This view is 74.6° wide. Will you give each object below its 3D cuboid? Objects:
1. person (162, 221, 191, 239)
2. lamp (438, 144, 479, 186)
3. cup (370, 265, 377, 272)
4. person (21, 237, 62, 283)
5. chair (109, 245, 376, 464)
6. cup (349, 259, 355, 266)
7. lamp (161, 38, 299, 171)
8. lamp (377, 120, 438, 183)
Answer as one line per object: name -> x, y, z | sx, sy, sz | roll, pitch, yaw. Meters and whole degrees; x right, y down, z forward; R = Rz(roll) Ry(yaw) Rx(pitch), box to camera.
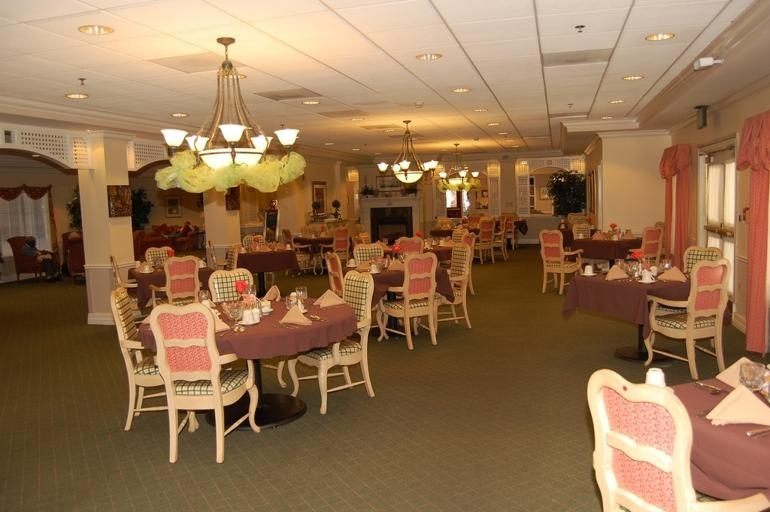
person -> -8.614, -1.043, 20.970 | 0.884, 0.310, 0.861 | -8, 11, -34
lamp -> 2.259, -2.687, 15.516 | 1.291, 1.495, 1.058 | -9, 9, -40
cup -> -0.175, 0.189, 7.963 | 0.102, 0.095, 0.101 | -1, 3, 0
person -> -10.114, 0.056, 14.889 | 0.831, 1.374, 0.657 | -15, -3, 3
chair -> -1.459, 0.880, 5.586 | 1.811, 1.334, 2.095 | 4, 9, 30
cup -> -0.561, 0.121, 8.801 | 0.086, 0.111, 0.112 | -2, 39, 1
lamp -> -1.825, -1.884, 6.002 | 1.569, 1.341, 1.553 | 4, 19, 7
lamp -> 0.531, -2.411, 11.620 | 1.443, 1.424, 1.417 | 5, 13, 33
